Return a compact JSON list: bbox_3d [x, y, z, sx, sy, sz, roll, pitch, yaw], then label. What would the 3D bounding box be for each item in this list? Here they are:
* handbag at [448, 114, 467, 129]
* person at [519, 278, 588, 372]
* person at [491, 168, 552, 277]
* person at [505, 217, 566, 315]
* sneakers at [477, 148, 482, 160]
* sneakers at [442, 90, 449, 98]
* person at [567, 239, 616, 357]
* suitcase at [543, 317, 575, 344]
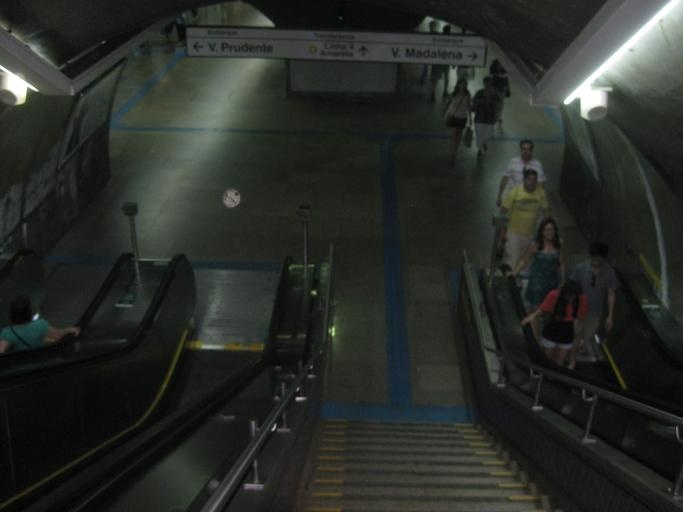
[{"bbox_3d":[2.612,-3.047,10.906,0.368,0.228,0.270,2,-12,5],"label":"handbag"},{"bbox_3d":[2.493,0.762,5.456,0.507,0.948,0.610,0,-6,37],"label":"person"},{"bbox_3d":[2.729,-0.428,7.227,0.707,1.775,0.505,-2,31,3],"label":"person"},{"bbox_3d":[2.525,0.249,6.173,0.684,1.575,0.379,-3,31,10],"label":"person"},{"bbox_3d":[3.507,-2.569,12.103,0.149,0.295,0.234,2,-5,17],"label":"sneakers"},{"bbox_3d":[3.344,-5.196,15.445,0.244,0.193,0.224,-30,15,-36],"label":"sneakers"},{"bbox_3d":[2.924,0.602,5.711,0.550,1.538,0.494,3,27,19],"label":"person"},{"bbox_3d":[2.507,0.850,5.502,0.272,0.274,0.159,11,50,27],"label":"suitcase"}]
